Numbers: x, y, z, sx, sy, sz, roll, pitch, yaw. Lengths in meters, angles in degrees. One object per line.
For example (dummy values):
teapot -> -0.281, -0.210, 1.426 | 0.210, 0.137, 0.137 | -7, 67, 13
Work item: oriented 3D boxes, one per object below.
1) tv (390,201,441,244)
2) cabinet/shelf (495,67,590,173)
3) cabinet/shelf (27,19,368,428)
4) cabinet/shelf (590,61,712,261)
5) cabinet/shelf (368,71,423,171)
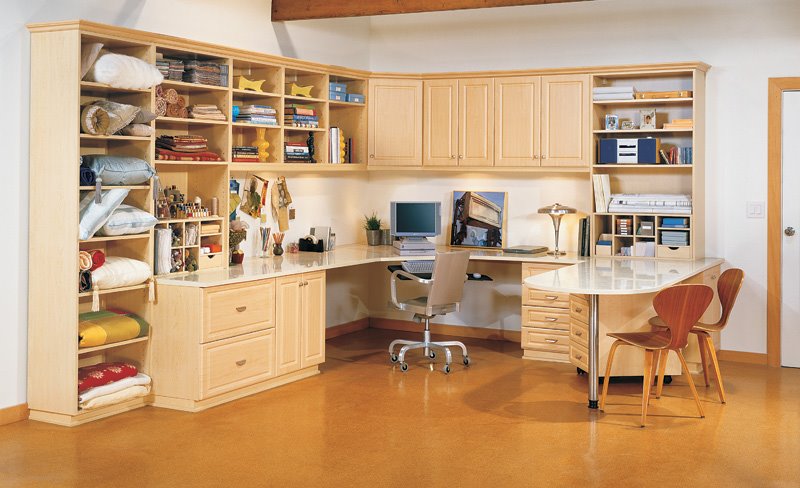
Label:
tv -> 0.215, -0.314, 7.195 | 0.896, 0.558, 0.445 | 1, 5, 4
cabinet/shelf -> 1.766, -1.533, 6.935 | 1.509, 1.210, 0.556 | 1, 0, 23
cabinet/shelf -> -1.729, -0.334, 6.125 | 1.649, 3.466, 3.831 | 6, 11, 33
cabinet/shelf -> 2.940, -0.972, 6.744 | 1.356, 2.199, 0.842 | 4, 11, 25
cabinet/shelf -> -0.054, -1.567, 7.364 | 0.681, 1.099, 0.169 | -1, 10, -6
